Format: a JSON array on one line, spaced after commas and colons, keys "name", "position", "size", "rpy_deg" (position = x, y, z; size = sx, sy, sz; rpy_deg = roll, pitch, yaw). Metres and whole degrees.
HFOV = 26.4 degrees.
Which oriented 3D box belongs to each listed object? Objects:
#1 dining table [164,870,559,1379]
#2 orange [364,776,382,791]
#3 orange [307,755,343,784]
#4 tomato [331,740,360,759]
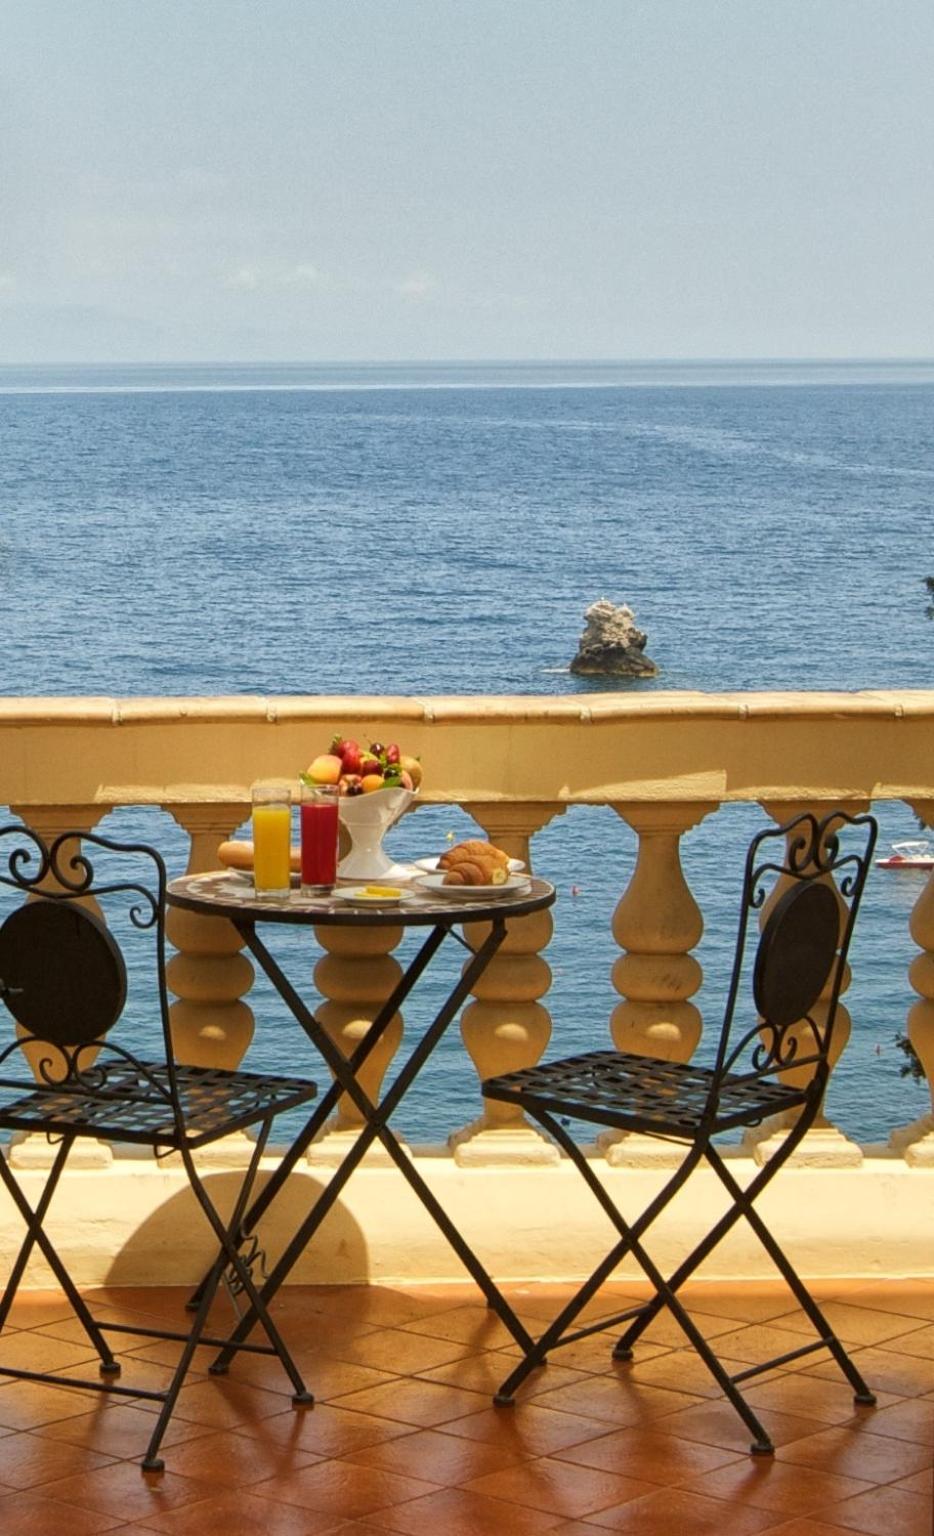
[{"name": "dining table", "position": [-0.186, 0.613, 3.516], "size": [0.675, 0.727, 0.657], "rpy_deg": [-1, 1, -42]}, {"name": "orange", "position": [-0.167, 0.025, 3.426], "size": [0.027, 0.026, 0.031], "rpy_deg": [2, 54, -6]}, {"name": "orange", "position": [-0.253, 0.003, 3.456], "size": [0.064, 0.041, 0.077], "rpy_deg": [1, 15, -4]}, {"name": "tomato", "position": [-0.218, -0.042, 3.503], "size": [0.041, 0.044, 0.038], "rpy_deg": [2, 16, 2]}]
